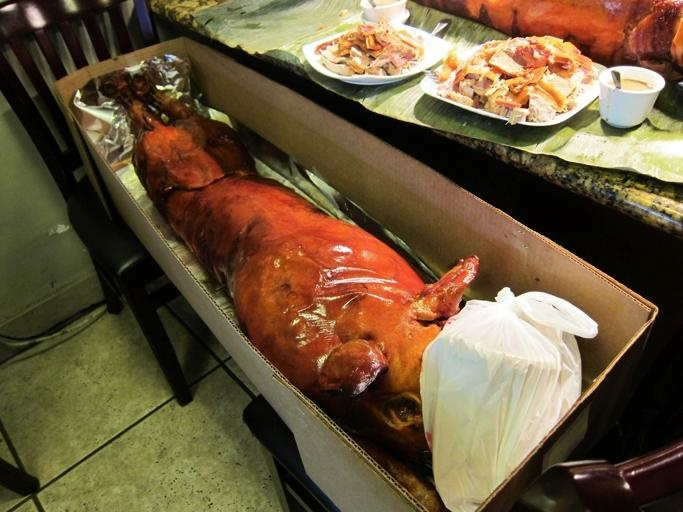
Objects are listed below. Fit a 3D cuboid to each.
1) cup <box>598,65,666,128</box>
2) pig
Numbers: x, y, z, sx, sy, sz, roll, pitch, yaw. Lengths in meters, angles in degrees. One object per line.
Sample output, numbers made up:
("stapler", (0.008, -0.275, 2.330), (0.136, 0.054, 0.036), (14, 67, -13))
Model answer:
("cup", (0.633, -0.344, 1.096), (0.119, 0.076, 0.130), (1, 39, 0))
("pig", (-0.310, -0.089, 1.411), (1.484, 0.509, 0.419), (42, 103, 30))
